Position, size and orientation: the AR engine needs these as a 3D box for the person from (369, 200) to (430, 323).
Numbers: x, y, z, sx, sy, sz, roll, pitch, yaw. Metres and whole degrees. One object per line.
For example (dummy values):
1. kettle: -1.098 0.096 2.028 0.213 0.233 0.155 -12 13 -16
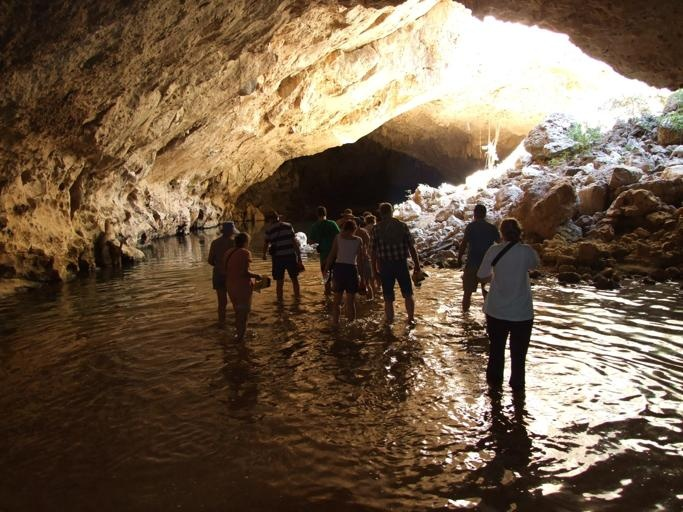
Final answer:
1. person: 0.931 0.107 8.745 0.835 2.057 0.916 -1 -1 7

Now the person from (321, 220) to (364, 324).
1. person: 0.055 0.349 8.926 0.587 1.911 0.576 4 2 -10

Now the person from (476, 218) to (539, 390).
1. person: 2.059 0.591 6.389 0.682 2.120 0.476 -1 -1 13

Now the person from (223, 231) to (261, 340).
1. person: -1.577 0.449 8.138 0.542 1.677 0.785 0 -1 -13
